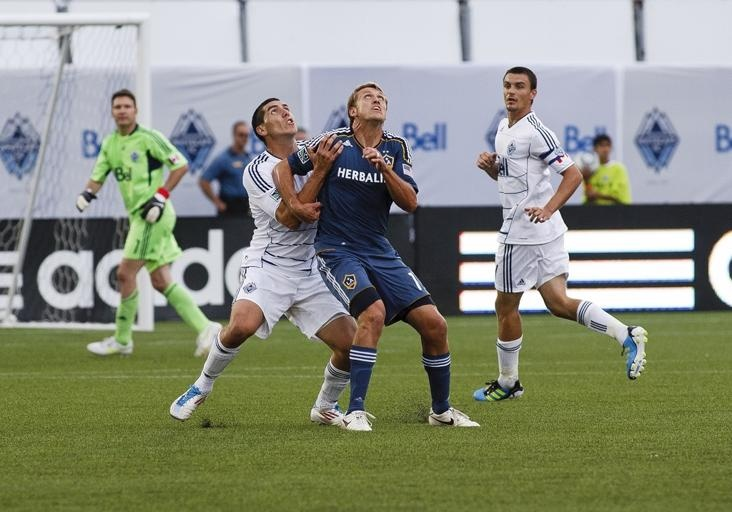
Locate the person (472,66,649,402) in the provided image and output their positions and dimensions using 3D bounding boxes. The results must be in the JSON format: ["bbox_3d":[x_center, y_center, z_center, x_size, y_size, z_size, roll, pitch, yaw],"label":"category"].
[{"bbox_3d":[1.691,0.016,11.063,1.303,2.658,0.595,1,8,6],"label":"person"}]

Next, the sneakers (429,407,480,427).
[{"bbox_3d":[0.758,1.411,10.331,0.463,0.193,0.170,2,-1,-2],"label":"sneakers"}]

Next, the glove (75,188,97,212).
[{"bbox_3d":[-2.972,-0.555,12.615,0.176,0.115,0.237,43,36,8],"label":"glove"}]

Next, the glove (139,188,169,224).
[{"bbox_3d":[-2.223,-0.557,12.726,0.362,0.262,0.154,-46,37,-20],"label":"glove"}]

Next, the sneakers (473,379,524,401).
[{"bbox_3d":[1.244,1.256,11.173,0.374,0.190,0.209,0,-3,-3],"label":"sneakers"}]

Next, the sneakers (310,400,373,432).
[{"bbox_3d":[-0.216,1.405,10.335,0.577,0.279,0.206,0,-5,18],"label":"sneakers"}]

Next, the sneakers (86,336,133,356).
[{"bbox_3d":[-2.781,1.011,12.961,0.491,0.234,0.187,8,-4,-8],"label":"sneakers"}]

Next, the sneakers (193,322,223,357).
[{"bbox_3d":[-1.646,0.882,12.487,0.166,0.415,0.146,21,-27,-1],"label":"sneakers"}]
